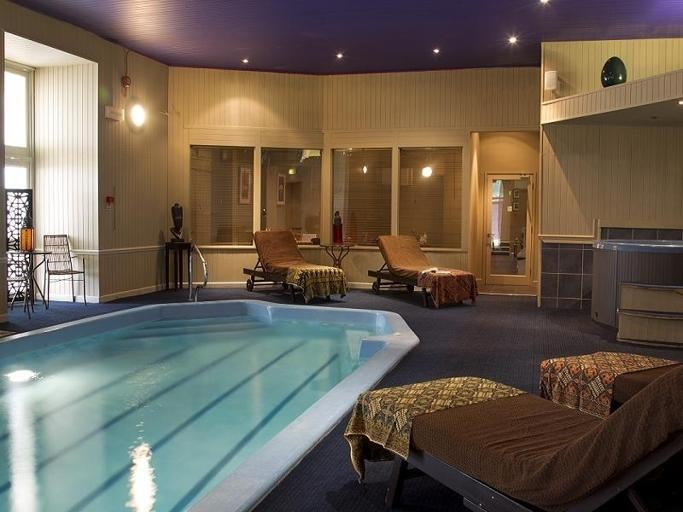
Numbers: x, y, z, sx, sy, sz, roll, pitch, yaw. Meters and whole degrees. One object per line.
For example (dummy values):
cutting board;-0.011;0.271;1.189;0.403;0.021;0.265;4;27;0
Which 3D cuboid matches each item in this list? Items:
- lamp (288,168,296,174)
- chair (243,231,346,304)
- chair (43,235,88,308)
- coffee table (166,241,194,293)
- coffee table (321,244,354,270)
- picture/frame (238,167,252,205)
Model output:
lamp;-1.053;-1.804;10.077;0.090;0.127;0.121;8;-1;-8
chair;-0.903;0.150;8.787;1.112;1.132;1.883;-4;5;-39
chair;-4.666;0.208;7.892;0.790;1.131;0.529;-1;6;-12
coffee table;-3.284;0.172;9.467;0.652;0.995;0.566;1;6;1
coffee table;-0.038;0.017;9.952;0.525;0.602;0.525;-1;-1;-3
picture/frame;-2.024;-1.466;9.866;0.275;0.778;0.076;0;6;-4
